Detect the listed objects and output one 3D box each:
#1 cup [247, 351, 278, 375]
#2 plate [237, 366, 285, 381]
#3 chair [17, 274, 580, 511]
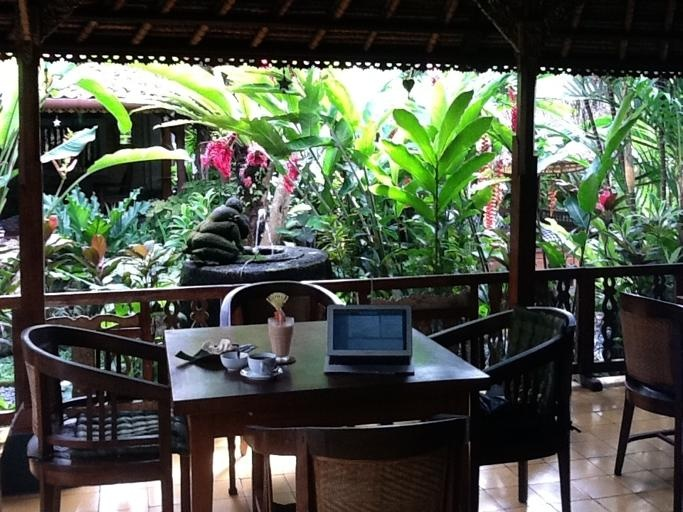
[{"bbox_3d":[-0.333,0.448,2.418,0.088,0.067,0.087,4,-2,0],"label":"cup"},{"bbox_3d":[-0.333,0.489,2.402,0.186,0.048,0.133,0,-3,-10],"label":"plate"},{"bbox_3d":[-0.272,0.725,2.529,2.279,0.848,1.155,-1,-3,7],"label":"chair"}]
